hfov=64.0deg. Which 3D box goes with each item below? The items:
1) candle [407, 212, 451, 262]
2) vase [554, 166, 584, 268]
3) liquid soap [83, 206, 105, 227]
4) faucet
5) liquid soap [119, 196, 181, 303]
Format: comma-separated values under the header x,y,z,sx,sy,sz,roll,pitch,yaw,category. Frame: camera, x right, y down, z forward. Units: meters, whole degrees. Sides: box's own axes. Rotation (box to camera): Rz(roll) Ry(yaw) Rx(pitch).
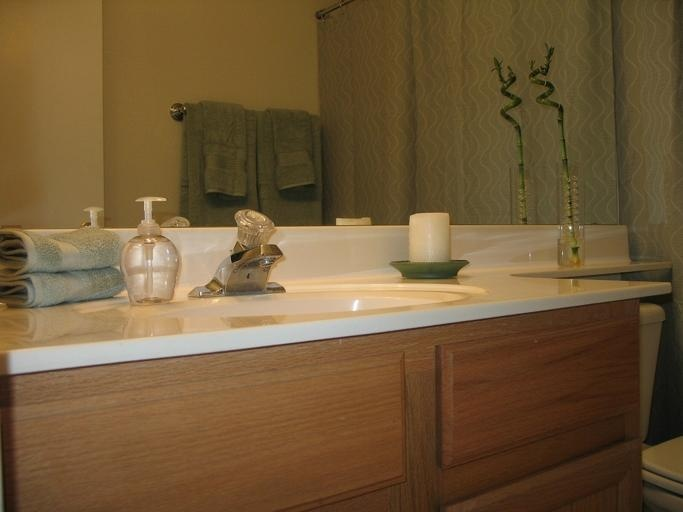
x,y,z,sx,sy,sz,roll,pitch,yaw,category
0.213,-0.044,1.383,0.088,0.126,0.111,-1,0,5,candle
0.672,-0.105,1.625,0.101,0.261,0.050,4,6,17,vase
-0.515,-0.082,1.146,0.041,0.043,0.040,1,0,-17,liquid soap
-0.200,-0.003,1.061,0.189,0.170,0.108,-5,5,-23,faucet
-0.344,-0.014,0.978,0.107,0.183,0.107,-2,7,-30,liquid soap
